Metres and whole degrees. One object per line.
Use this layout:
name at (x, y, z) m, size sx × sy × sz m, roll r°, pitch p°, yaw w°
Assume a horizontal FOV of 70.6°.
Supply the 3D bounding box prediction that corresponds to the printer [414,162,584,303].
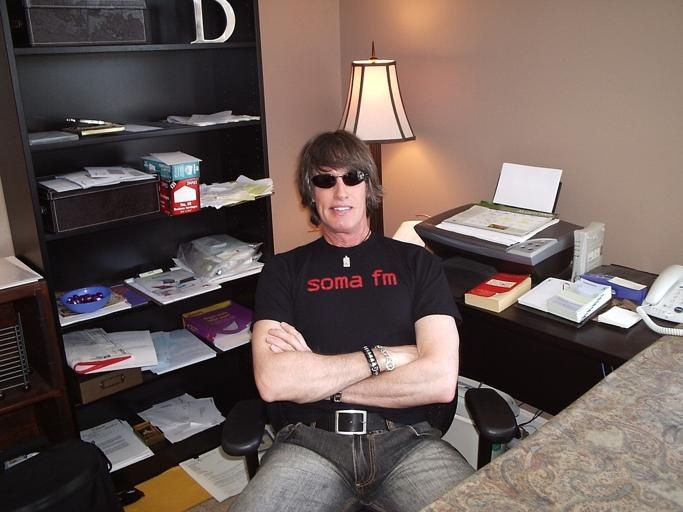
printer at (0.777, -0.147, 2.339) m, size 0.663 × 0.553 × 0.713 m, roll -29°, pitch 32°, yaw -32°

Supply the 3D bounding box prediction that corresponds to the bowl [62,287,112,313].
bowl at (-1.155, 0.194, 2.212) m, size 0.145 × 0.051 × 0.139 m, roll 0°, pitch 19°, yaw 0°

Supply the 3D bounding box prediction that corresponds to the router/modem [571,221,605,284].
router/modem at (1.081, -0.008, 2.131) m, size 0.165 × 0.261 × 0.078 m, roll -31°, pitch 34°, yaw -25°

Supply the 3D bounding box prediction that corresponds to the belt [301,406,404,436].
belt at (0.037, 0.575, 1.673) m, size 0.334 × 0.070 × 0.068 m, roll 0°, pitch 26°, yaw 6°
